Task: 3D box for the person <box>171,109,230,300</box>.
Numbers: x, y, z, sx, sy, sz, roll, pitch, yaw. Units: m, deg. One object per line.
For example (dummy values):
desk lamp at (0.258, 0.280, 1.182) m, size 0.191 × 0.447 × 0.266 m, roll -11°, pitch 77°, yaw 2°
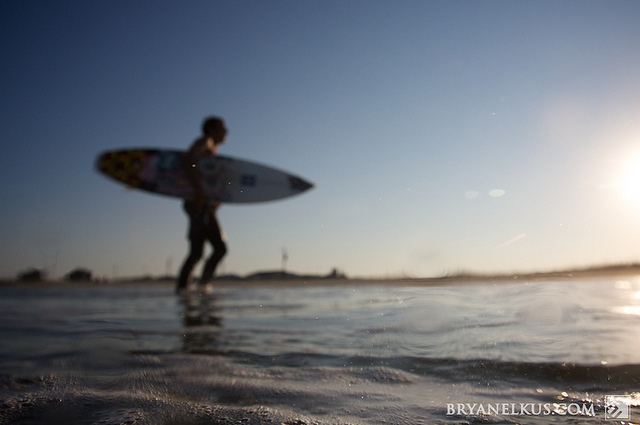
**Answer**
person at (-0.783, -0.062, 3.210) m, size 0.361 × 1.276 × 0.258 m, roll 2°, pitch -11°, yaw -8°
